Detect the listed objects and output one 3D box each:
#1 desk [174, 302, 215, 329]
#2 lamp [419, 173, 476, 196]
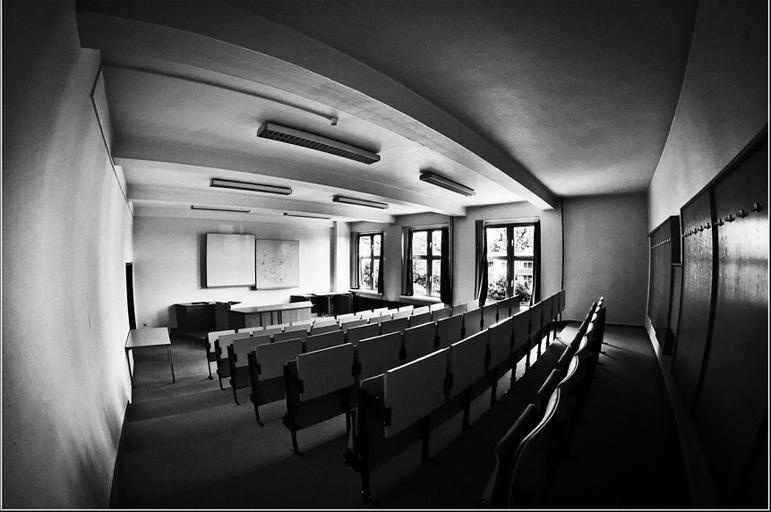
[{"bbox_3d":[-4.369,1.345,10.709,0.644,0.477,0.650,1,0,35],"label":"desk"},{"bbox_3d":[1.069,-1.313,8.441,0.391,0.461,1.688,3,12,29],"label":"lamp"}]
